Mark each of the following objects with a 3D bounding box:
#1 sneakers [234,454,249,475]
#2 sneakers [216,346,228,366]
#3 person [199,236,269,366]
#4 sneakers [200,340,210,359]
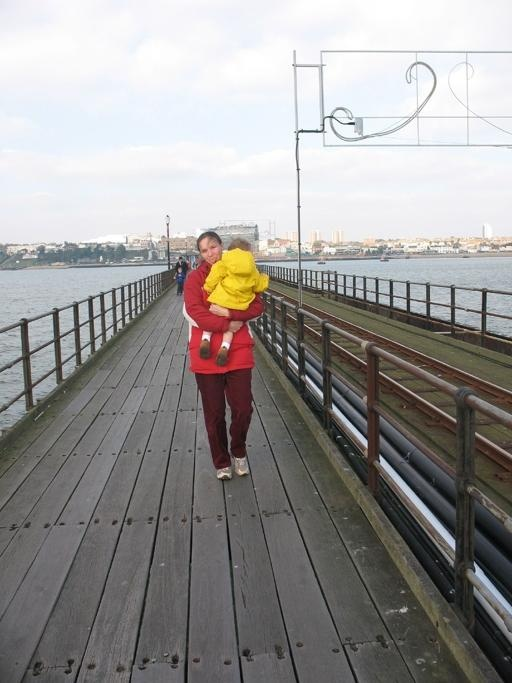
[{"bbox_3d":[-0.098,0.908,3.598,0.073,0.073,0.161,-2,29,-12],"label":"sneakers"},{"bbox_3d":[-0.207,0.096,3.073,0.049,0.121,0.048,11,-4,7],"label":"sneakers"},{"bbox_3d":[-0.139,-0.267,3.277,0.420,0.821,0.566,0,3,2],"label":"person"},{"bbox_3d":[-0.315,0.054,3.080,0.058,0.118,0.056,-1,3,-13],"label":"sneakers"}]
